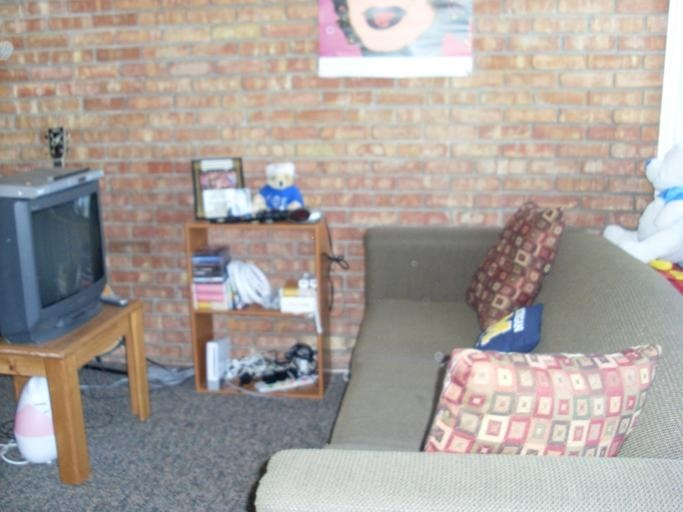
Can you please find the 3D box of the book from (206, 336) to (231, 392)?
[{"bbox_3d":[-0.660,0.583,3.353,0.103,0.290,0.283,-2,1,4],"label":"book"}]

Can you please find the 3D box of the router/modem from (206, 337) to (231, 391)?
[{"bbox_3d":[-0.688,0.570,3.452,0.092,0.210,0.256,-1,-1,-1],"label":"router/modem"}]

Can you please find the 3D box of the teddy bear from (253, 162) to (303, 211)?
[{"bbox_3d":[-0.325,-0.367,3.313,0.294,0.259,0.171,1,18,-4],"label":"teddy bear"}]

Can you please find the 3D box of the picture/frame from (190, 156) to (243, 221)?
[{"bbox_3d":[-0.641,-0.357,3.278,0.250,0.300,0.252,-4,18,-11],"label":"picture/frame"}]

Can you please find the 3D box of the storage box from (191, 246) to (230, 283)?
[{"bbox_3d":[-0.685,0.042,3.269,0.145,0.119,0.200,1,1,3],"label":"storage box"}]

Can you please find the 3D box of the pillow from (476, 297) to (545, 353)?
[{"bbox_3d":[0.653,0.261,2.449,0.258,0.075,0.249,-2,37,17],"label":"pillow"}]

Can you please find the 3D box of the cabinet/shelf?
[{"bbox_3d":[-0.442,0.261,3.357,0.959,1.149,0.384,2,17,3],"label":"cabinet/shelf"}]
